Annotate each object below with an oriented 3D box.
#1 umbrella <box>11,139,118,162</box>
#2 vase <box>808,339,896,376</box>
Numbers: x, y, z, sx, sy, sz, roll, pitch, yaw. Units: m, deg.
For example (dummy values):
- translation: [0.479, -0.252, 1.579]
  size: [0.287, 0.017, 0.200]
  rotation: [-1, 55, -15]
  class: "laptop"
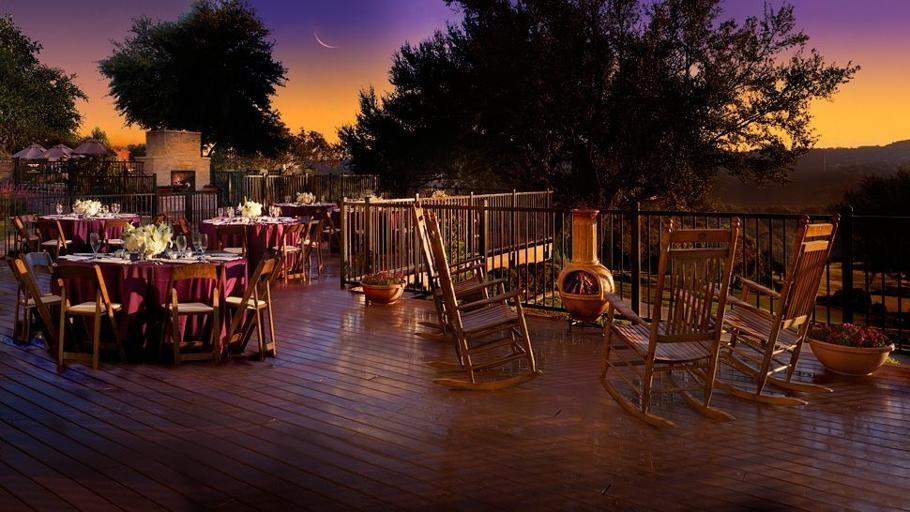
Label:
- translation: [-20.162, -5.415, 29.521]
  size: [3.268, 0.622, 1.136]
  rotation: [-1, 1, 15]
  class: "umbrella"
- translation: [5.266, 1.353, 7.796]
  size: [0.949, 0.317, 0.921]
  rotation: [6, 1, -2]
  class: "vase"
